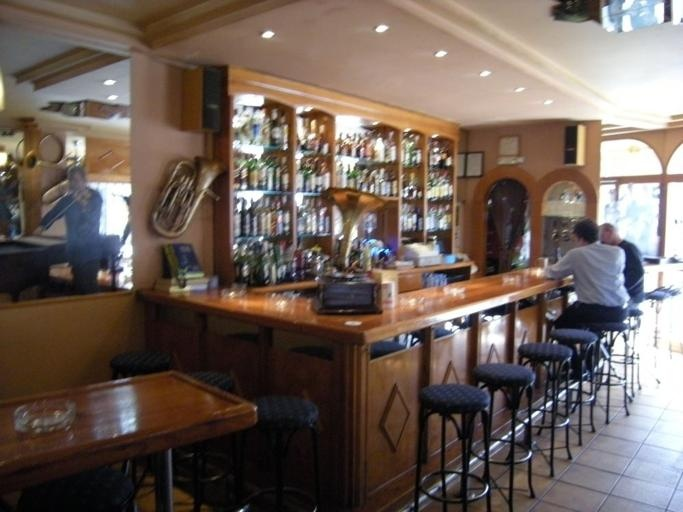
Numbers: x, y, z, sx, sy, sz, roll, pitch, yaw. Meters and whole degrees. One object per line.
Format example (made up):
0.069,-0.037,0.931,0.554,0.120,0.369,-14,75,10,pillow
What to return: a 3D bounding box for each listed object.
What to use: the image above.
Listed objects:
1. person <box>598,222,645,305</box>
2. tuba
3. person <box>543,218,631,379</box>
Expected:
3.103,0.072,6.307,0.393,0.860,0.458,8,6,34,person
-1.473,-0.555,5.368,0.684,0.781,0.274,-1,8,-22,tuba
2.481,0.280,5.609,0.606,1.277,0.518,1,1,40,person
